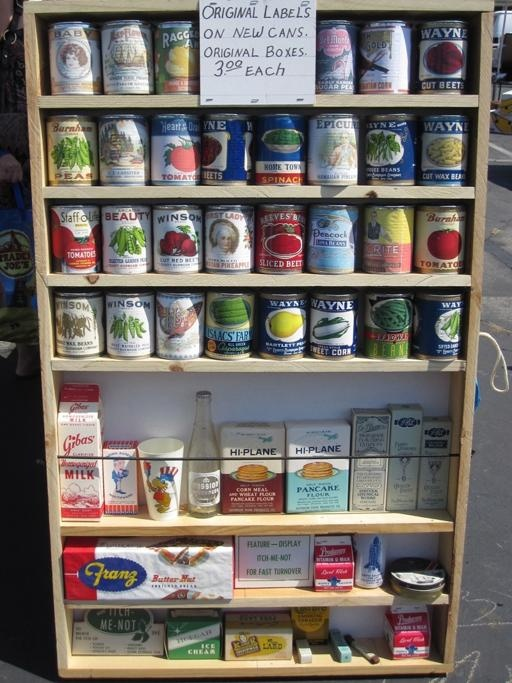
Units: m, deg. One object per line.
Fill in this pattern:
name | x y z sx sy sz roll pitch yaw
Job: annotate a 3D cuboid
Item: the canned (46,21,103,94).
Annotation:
canned | -0.359 -0.561 1.359 0.147 0.142 0.136 -2 8 -16
